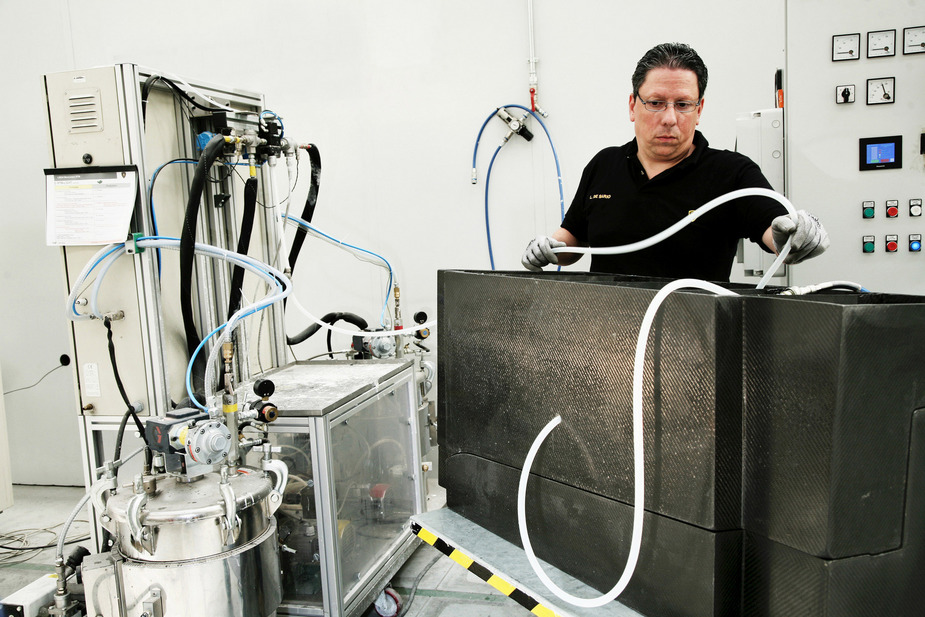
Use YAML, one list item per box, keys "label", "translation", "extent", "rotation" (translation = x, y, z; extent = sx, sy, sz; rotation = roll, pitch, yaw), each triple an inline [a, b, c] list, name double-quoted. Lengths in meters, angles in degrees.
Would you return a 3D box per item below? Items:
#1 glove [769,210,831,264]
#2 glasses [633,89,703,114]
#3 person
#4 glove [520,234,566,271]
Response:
- label: "glove"
  translation: [0.925, -0.192, 2.094]
  extent: [0.181, 0.148, 0.094]
  rotation: [5, 17, 31]
- label: "glasses"
  translation: [0.730, -0.738, 2.749]
  extent: [0.202, 0.077, 0.065]
  rotation: [2, 10, 19]
- label: "person"
  translation: [0.708, -0.497, 2.650]
  extent: [0.796, 0.849, 1.181]
  rotation: [0, 10, 7]
- label: "glove"
  translation: [0.273, -0.194, 2.519]
  extent: [0.134, 0.106, 0.064]
  rotation: [-17, 9, -35]
